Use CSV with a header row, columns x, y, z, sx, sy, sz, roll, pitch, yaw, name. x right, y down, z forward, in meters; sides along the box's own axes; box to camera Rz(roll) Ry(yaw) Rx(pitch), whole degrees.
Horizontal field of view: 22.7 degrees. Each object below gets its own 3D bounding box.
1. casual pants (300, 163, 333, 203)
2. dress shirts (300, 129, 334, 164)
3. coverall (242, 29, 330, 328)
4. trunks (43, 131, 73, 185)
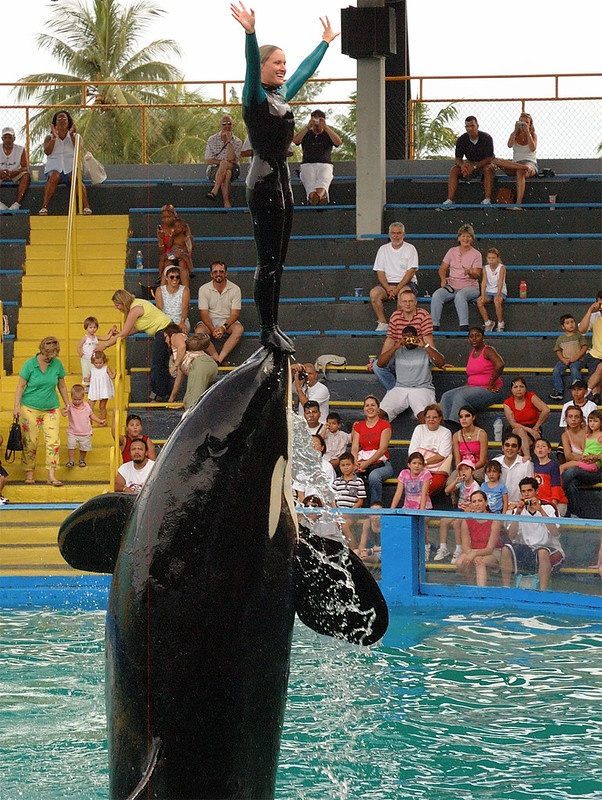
x,y,z,sx,sy,sz,roll,pitch,yaw,name
0.209,-2.860,19.137,0.265,0.596,0.171,-3,-4,9,casual pants
0.204,-3.226,19.003,0.491,0.612,0.326,0,-1,-2,dress shirts
-0.092,-0.780,5.333,0.290,1.025,0.782,1,8,10,coverall
-3.145,-3.236,19.707,0.384,0.811,0.546,1,1,-9,trunks
